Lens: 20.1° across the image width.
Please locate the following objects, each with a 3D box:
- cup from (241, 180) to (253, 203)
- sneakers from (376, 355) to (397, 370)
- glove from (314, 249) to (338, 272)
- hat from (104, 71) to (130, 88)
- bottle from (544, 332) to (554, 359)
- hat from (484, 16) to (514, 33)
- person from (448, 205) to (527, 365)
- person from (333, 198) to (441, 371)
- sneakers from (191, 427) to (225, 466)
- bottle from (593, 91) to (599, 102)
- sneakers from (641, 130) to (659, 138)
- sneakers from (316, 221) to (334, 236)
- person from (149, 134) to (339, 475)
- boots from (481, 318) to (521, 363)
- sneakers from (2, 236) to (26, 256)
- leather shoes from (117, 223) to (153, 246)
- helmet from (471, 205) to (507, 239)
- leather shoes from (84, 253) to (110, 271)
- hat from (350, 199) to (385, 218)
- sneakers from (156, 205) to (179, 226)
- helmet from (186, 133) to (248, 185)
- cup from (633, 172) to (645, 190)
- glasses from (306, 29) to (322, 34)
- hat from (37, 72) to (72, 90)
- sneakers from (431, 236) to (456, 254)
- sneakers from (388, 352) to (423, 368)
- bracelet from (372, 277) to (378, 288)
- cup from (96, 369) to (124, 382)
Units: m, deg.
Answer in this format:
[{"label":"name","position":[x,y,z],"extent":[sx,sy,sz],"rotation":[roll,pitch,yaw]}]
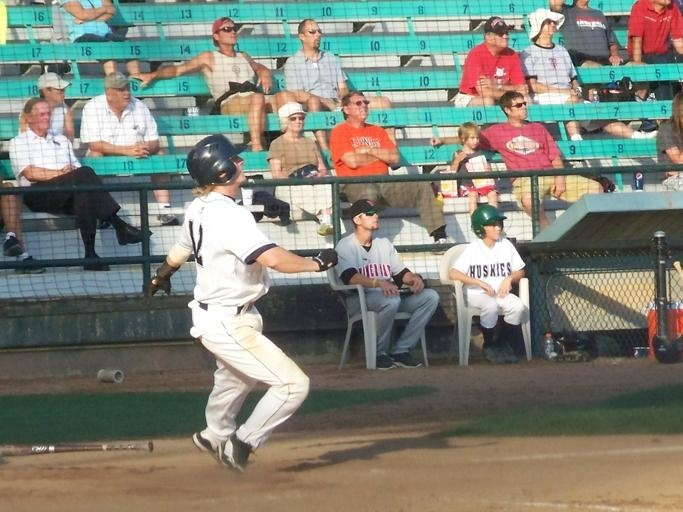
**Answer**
[{"label":"cup","position":[-1.117,-0.647,21.508],"extent":[0.169,0.274,0.168],"rotation":[1,-5,0]},{"label":"sneakers","position":[0.457,1.165,20.598],"extent":[0.220,0.145,0.146],"rotation":[-4,5,-36]},{"label":"glove","position":[-0.158,0.074,17.981],"extent":[0.243,0.164,0.094],"rotation":[-17,-26,-22]},{"label":"hat","position":[-2.651,-2.003,22.263],"extent":[0.244,0.115,0.176],"rotation":[-8,-1,26]},{"label":"bottle","position":[2.255,1.012,20.955],"extent":[0.134,0.272,0.278],"rotation":[-1,4,5]},{"label":"hat","position":[1.873,-2.755,23.218],"extent":[0.298,0.148,0.207],"rotation":[4,15,33]},{"label":"person","position":[1.586,0.328,20.910],"extent":[0.800,1.671,0.557],"rotation":[-1,4,5]},{"label":"person","position":[0.471,0.322,20.799],"extent":[1.085,1.792,0.610],"rotation":[-2,5,-8]},{"label":"sneakers","position":[-1.291,1.789,17.952],"extent":[0.191,0.453,0.152],"rotation":[-43,22,14]},{"label":"bottle","position":[3.088,-1.901,23.478],"extent":[0.080,0.101,0.033],"rotation":[-3,-4,-11]},{"label":"sneakers","position":[3.675,-1.428,23.134],"extent":[0.123,0.079,0.116],"rotation":[1,2,15]},{"label":"sneakers","position":[-0.219,-0.253,21.387],"extent":[0.164,0.128,0.127],"rotation":[4,4,20]},{"label":"person","position":[-0.961,0.452,18.029],"extent":[1.524,3.112,0.572],"rotation":[-1,5,10]},{"label":"boots","position":[1.735,0.945,20.907],"extent":[0.439,0.442,0.474],"rotation":[-1,4,5]},{"label":"sneakers","position":[-3.646,-0.075,21.068],"extent":[0.211,0.222,0.080],"rotation":[-2,5,-11]},{"label":"leather shoes","position":[-2.345,-0.201,21.312],"extent":[0.260,0.253,0.477],"rotation":[-5,5,-38]},{"label":"helmet","position":[1.574,-0.361,21.164],"extent":[0.316,0.318,0.404],"rotation":[-15,15,-41]},{"label":"leather shoes","position":[-2.738,0.112,21.102],"extent":[0.288,0.195,0.509],"rotation":[-2,4,-8]},{"label":"hat","position":[0.252,-0.481,20.875],"extent":[0.297,0.150,0.198],"rotation":[-17,0,14]},{"label":"sneakers","position":[-2.014,-0.419,21.770],"extent":[0.125,0.140,0.349],"rotation":[0,-7,-20]},{"label":"helmet","position":[-1.219,-0.852,17.911],"extent":[0.533,0.380,0.374],"rotation":[-29,10,-13]},{"label":"cup","position":[3.480,-0.838,22.571],"extent":[0.125,0.196,0.177],"rotation":[-1,4,9]},{"label":"glasses","position":[-0.337,-2.663,23.168],"extent":[0.117,0.072,0.253],"rotation":[1,4,24]},{"label":"hat","position":[-3.391,-1.978,22.160],"extent":[0.282,0.131,0.196],"rotation":[-2,5,-2]},{"label":"sneakers","position":[1.104,-0.088,21.559],"extent":[0.207,0.074,0.195],"rotation":[-2,13,9]},{"label":"sneakers","position":[0.658,1.171,20.748],"extent":[0.387,0.146,0.138],"rotation":[1,-2,6]},{"label":"bracelet","position":[0.332,0.314,20.626],"extent":[0.021,0.070,0.074],"rotation":[-12,18,21]},{"label":"cup","position":[-2.275,1.193,18.506],"extent":[0.210,0.133,0.311],"rotation":[-2,4,-12]}]
